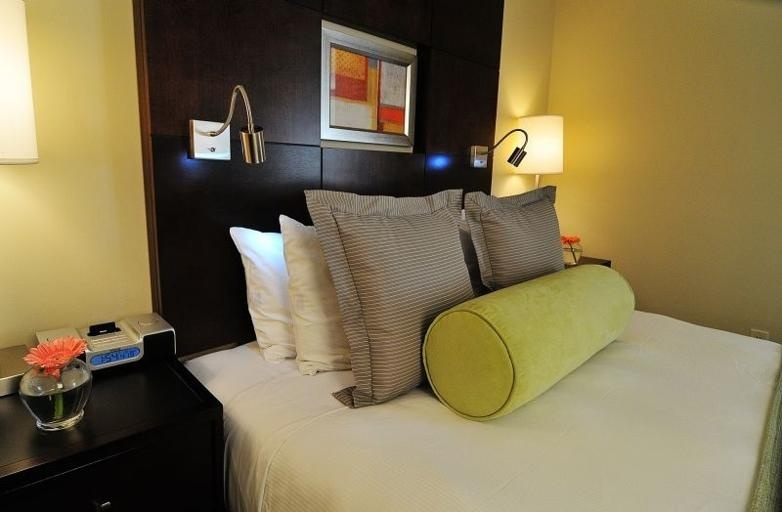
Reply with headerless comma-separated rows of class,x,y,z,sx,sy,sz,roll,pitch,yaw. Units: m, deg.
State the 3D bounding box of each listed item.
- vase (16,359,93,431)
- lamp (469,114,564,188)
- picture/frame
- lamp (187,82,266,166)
vase,-1.287,0.534,2.092,0.256,0.247,0.259,0,5,38
lamp,0.965,-0.734,3.926,0.457,0.566,1.024,8,18,28
picture/frame,-0.138,-0.938,3.096,0.051,0.626,0.724,10,12,42
lamp,-0.730,-0.596,2.481,0.328,0.300,0.249,8,14,28
